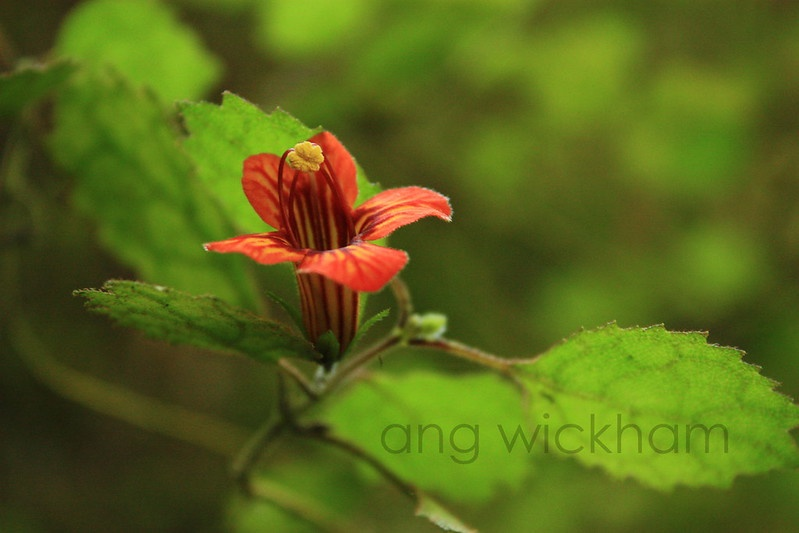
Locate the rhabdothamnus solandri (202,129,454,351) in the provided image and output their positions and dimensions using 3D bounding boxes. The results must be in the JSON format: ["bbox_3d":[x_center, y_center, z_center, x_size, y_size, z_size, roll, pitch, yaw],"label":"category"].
[{"bbox_3d":[-0.196,-0.025,2.003,0.531,0.546,0.563,4,-17,-43],"label":"rhabdothamnus solandri"}]
